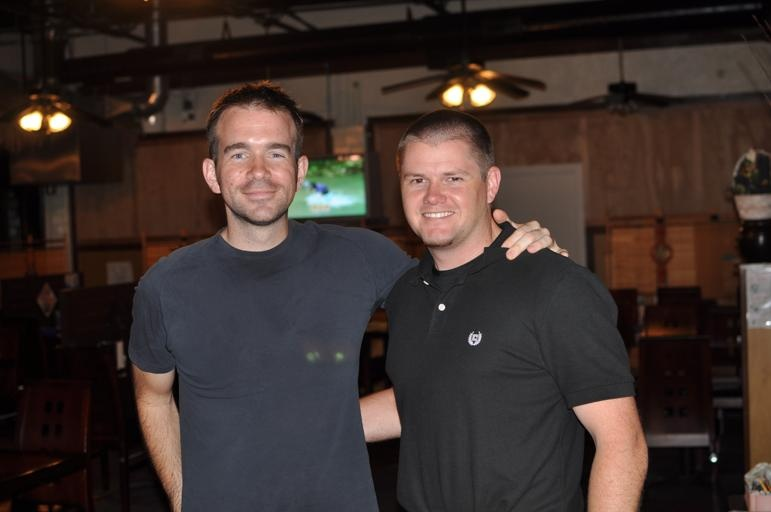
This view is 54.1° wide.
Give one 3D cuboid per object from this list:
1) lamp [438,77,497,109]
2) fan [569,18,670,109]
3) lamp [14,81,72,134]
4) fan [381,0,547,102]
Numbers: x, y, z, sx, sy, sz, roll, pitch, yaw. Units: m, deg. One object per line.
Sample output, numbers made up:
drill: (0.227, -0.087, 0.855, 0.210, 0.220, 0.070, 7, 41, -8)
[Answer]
lamp: (0.856, -1.682, 7.824, 0.550, 0.253, 0.346, -5, 7, -3)
fan: (2.503, -2.086, 8.039, 0.970, 0.969, 0.939, -4, 2, -36)
lamp: (-2.880, -1.195, 6.474, 0.418, 0.436, 0.401, 8, -41, -23)
fan: (0.918, -2.316, 8.370, 1.205, 1.175, 1.167, 13, -19, -32)
